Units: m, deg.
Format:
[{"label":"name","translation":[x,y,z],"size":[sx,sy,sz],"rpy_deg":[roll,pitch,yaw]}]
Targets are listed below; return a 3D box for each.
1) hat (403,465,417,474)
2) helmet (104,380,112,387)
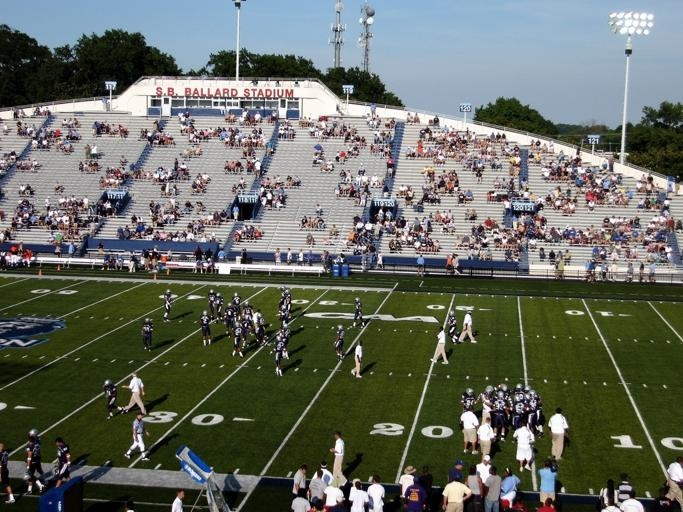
[{"label":"hat","translation":[2.162,6.733,35.402],"size":[0.283,0.276,0.549],"rpy_deg":[2,8,0]},{"label":"helmet","translation":[-8.609,4.599,40.875],"size":[0.294,0.339,0.375],"rpy_deg":[6,-7,-8]}]
